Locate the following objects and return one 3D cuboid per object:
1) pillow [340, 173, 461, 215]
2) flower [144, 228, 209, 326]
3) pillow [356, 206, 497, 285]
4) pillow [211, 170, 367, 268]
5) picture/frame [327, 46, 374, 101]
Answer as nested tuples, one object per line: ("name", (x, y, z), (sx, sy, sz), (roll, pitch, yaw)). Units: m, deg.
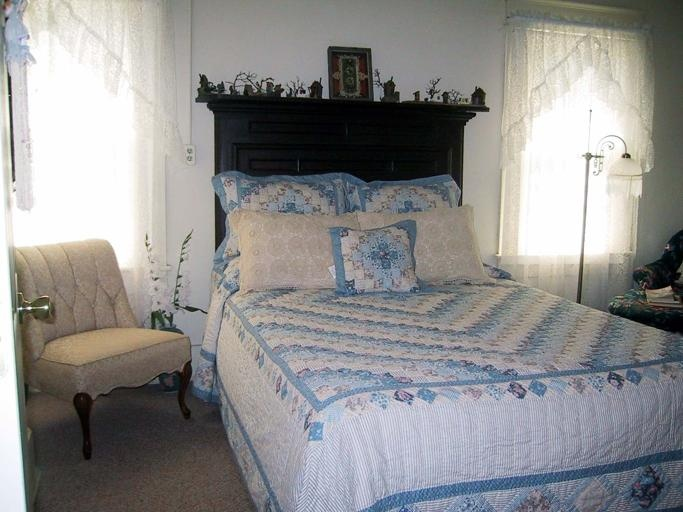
("pillow", (0.405, -0.382, 3.597), (0.519, 0.126, 0.337), (-4, 38, -5))
("flower", (-1.031, 0.224, 3.701), (0.407, 0.779, 0.407), (5, 0, -37))
("pillow", (0.607, -0.057, 3.301), (0.660, 0.473, 0.197), (-2, -10, -17))
("pillow", (-0.350, -0.374, 3.666), (0.954, 0.261, 0.671), (1, 18, -16))
("picture/frame", (0.052, -1.283, 3.937), (0.435, 0.505, 0.052), (-1, -2, -15))
